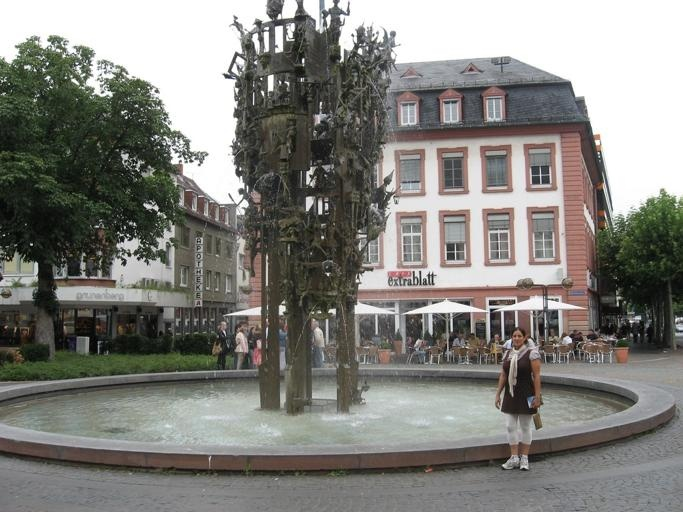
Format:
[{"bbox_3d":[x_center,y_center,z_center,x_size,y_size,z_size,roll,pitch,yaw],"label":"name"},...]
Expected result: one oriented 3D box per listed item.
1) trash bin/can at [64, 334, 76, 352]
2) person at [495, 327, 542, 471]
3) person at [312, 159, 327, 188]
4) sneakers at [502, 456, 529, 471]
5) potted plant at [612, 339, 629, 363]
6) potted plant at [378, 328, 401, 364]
[{"bbox_3d":[-17.699,5.567,47.492,0.633,0.950,1.528,3,-9,-26],"label":"trash bin/can"},{"bbox_3d":[2.781,2.204,11.423,0.682,2.167,0.605,-2,-7,12],"label":"person"},{"bbox_3d":[-0.471,-1.754,15.565,0.332,0.740,0.740,0,-7,-2],"label":"person"},{"bbox_3d":[2.668,3.150,11.116,0.464,0.232,0.178,1,-2,-5],"label":"sneakers"},{"bbox_3d":[11.971,4.031,31.116,0.527,0.976,1.253,-3,-8,21],"label":"potted plant"},{"bbox_3d":[2.320,4.267,33.870,0.975,0.973,1.239,0,-10,7],"label":"potted plant"}]
